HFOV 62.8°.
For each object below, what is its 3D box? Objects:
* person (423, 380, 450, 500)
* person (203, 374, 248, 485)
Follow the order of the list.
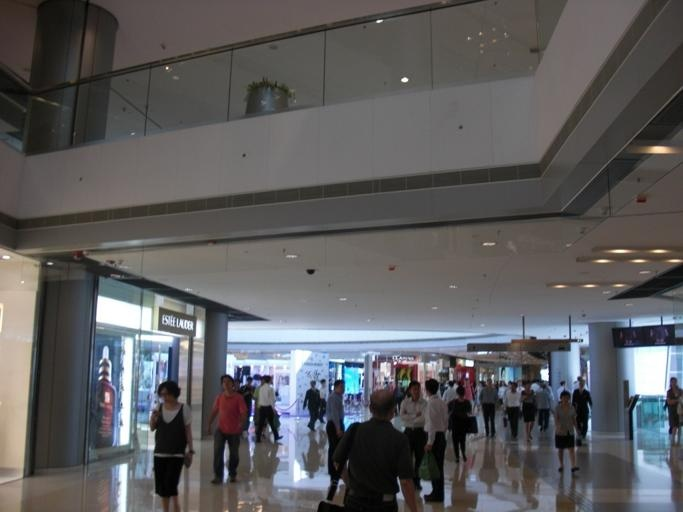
[{"bbox_3d":[1.364,2.682,8.146,0.325,1.751,0.714,-1,-12,9],"label":"person"},{"bbox_3d":[-1.900,2.871,9.396,0.576,1.722,0.799,4,-12,-13],"label":"person"}]
